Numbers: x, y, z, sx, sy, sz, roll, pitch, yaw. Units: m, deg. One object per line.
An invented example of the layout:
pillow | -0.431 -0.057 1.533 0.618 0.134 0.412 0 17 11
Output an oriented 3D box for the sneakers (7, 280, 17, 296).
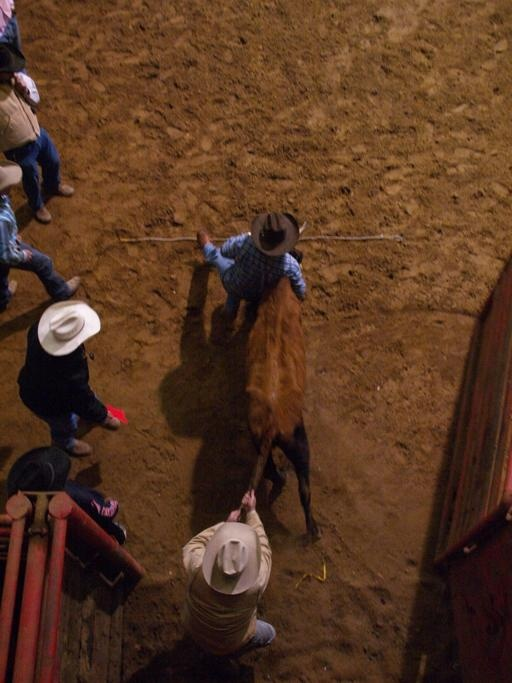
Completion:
sneakers | -2.436 -0.524 8.761 0.055 0.111 0.163 5 67 -8

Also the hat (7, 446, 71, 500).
hat | -1.705 1.040 6.814 0.410 0.339 0.446 19 25 -14

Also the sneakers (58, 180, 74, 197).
sneakers | -2.008 -1.596 9.244 0.193 0.091 0.077 3 -2 2

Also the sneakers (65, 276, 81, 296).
sneakers | -1.854 -0.558 8.822 0.085 0.105 0.249 7 63 -3

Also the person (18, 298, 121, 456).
person | -1.670 0.381 7.789 0.549 1.292 0.672 -28 85 -18

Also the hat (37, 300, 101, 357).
hat | -1.559 -0.123 7.223 0.468 0.369 0.580 21 24 -10

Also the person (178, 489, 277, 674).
person | -0.199 2.014 7.252 0.737 1.776 1.243 1 57 -8

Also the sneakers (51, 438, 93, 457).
sneakers | -1.689 0.974 8.107 0.402 0.158 0.292 3 -2 -29
